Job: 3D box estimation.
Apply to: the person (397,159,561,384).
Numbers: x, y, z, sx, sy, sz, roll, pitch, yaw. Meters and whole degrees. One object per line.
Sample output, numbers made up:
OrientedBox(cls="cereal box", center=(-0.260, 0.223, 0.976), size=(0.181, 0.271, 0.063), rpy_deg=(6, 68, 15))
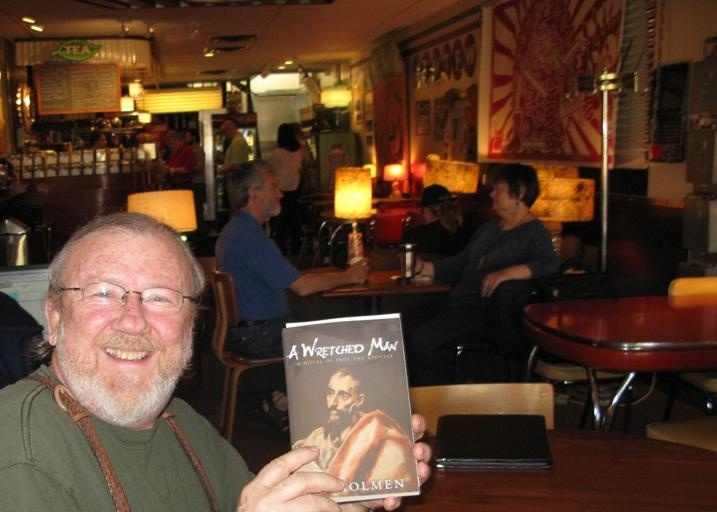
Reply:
OrientedBox(cls="person", center=(0.769, 0.227, 4.196), size=(0.945, 1.578, 0.833), rpy_deg=(1, 8, 15))

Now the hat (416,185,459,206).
OrientedBox(cls="hat", center=(0.634, -0.514, 5.546), size=(0.213, 0.148, 0.215), rpy_deg=(2, 10, 25))

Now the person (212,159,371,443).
OrientedBox(cls="person", center=(-0.408, 0.303, 4.107), size=(0.977, 1.695, 0.790), rpy_deg=(-8, 6, -41))
